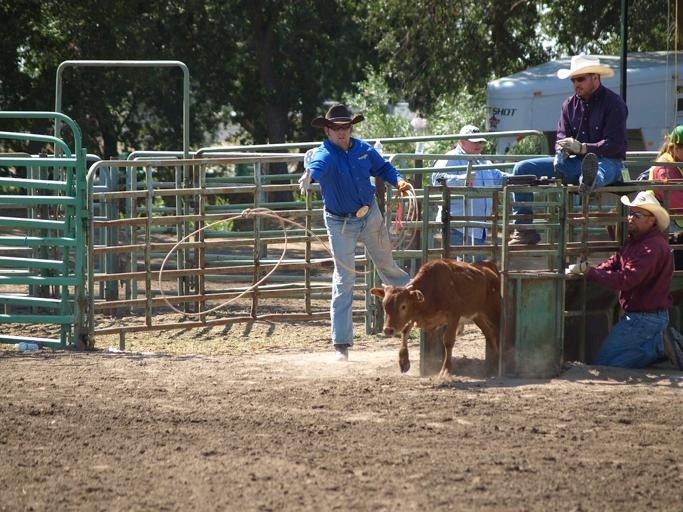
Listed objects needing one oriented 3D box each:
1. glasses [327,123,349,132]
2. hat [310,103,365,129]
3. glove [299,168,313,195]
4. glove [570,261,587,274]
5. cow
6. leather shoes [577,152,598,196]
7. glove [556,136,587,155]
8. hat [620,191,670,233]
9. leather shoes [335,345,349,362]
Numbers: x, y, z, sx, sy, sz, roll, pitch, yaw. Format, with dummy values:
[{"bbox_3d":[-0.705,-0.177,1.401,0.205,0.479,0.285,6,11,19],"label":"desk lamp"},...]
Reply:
[{"bbox_3d":[-0.011,-1.518,14.752,0.264,0.084,0.128,0,-1,-4],"label":"glasses"},{"bbox_3d":[-0.067,-1.681,14.903,0.546,0.320,0.526,0,-1,5],"label":"hat"},{"bbox_3d":[-0.420,-0.882,14.631,0.139,0.283,0.433,0,-1,-1],"label":"glove"},{"bbox_3d":[2.857,0.152,14.768,0.269,0.159,0.093,0,-1,11],"label":"glove"},{"bbox_3d":[1.202,0.742,14.513,1.657,1.359,0.435,1,-1,-36],"label":"cow"},{"bbox_3d":[2.927,-0.960,14.530,0.165,0.497,0.191,9,13,15],"label":"leather shoes"},{"bbox_3d":[2.794,-1.307,14.799,0.357,0.180,0.225,0,-1,11],"label":"glove"},{"bbox_3d":[3.678,-0.528,14.802,0.547,0.485,0.433,0,-1,17],"label":"hat"},{"bbox_3d":[0.021,1.197,15.198,0.151,0.301,0.215,2,-1,-2],"label":"leather shoes"}]
